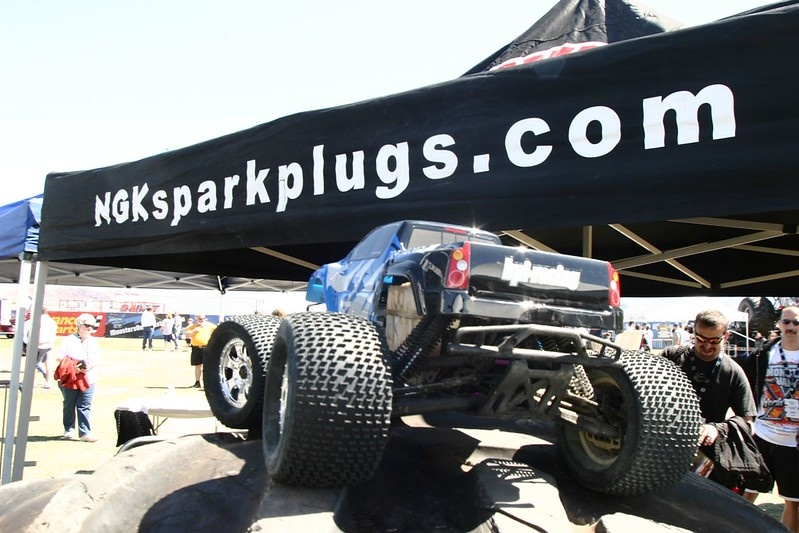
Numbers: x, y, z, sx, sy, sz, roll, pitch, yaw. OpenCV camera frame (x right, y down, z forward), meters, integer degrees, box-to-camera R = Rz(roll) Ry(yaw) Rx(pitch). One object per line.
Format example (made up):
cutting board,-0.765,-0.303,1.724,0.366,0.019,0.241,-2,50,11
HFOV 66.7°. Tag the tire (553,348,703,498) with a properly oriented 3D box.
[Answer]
tire,1.676,1.193,4.511,0.495,1.019,1.028,4,4,-40

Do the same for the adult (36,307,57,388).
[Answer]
adult,-7.706,1.971,13.387,0.439,1.278,0.430,-1,-11,-13

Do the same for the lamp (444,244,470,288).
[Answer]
lamp,0.434,0.002,4.381,0.169,0.381,0.041,0,-30,15

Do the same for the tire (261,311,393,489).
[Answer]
tire,-0.557,0.991,4.531,0.720,1.319,1.340,6,-4,-17

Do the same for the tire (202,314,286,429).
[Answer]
tire,-1.277,0.895,5.222,0.418,0.933,0.946,5,-16,-43

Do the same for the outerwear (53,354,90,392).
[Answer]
outerwear,-5.070,1.672,9.374,0.456,0.555,0.205,8,-2,-12

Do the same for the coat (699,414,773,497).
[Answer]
coat,2.740,1.588,5.171,0.689,0.748,0.323,6,4,-9

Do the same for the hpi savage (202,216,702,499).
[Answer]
hpi savage,0.099,0.730,4.903,2.444,1.541,2.863,4,-6,-33
